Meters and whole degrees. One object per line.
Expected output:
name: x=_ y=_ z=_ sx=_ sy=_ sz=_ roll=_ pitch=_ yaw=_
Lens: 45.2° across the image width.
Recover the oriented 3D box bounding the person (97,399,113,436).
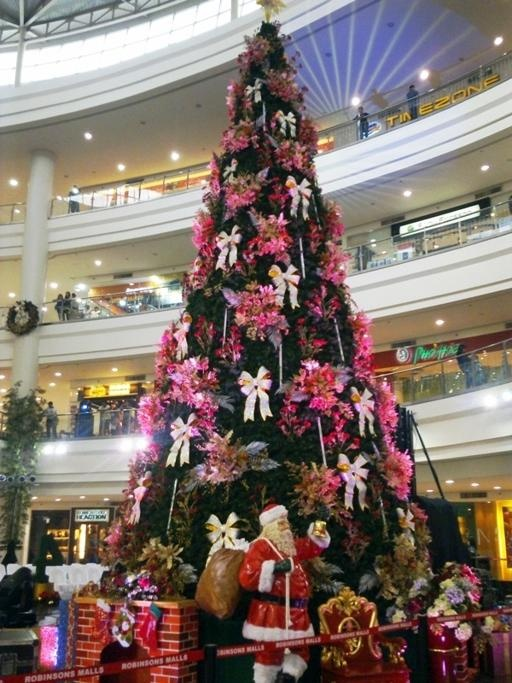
person: x=-3.584 y=1.808 z=14.546 sx=0.293 sy=0.856 sz=0.701 roll=1 pitch=-14 yaw=-16

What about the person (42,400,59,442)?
person: x=-5.034 y=1.913 z=15.134 sx=0.353 sy=0.950 sz=0.598 roll=2 pitch=-15 yaw=-18

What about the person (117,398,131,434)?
person: x=-3.003 y=1.687 z=14.046 sx=0.282 sy=0.819 sz=0.455 roll=0 pitch=-15 yaw=-12

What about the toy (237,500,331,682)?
toy: x=0.119 y=1.044 z=2.602 sx=0.412 sy=0.688 sz=0.304 roll=1 pitch=-15 yaw=-16
